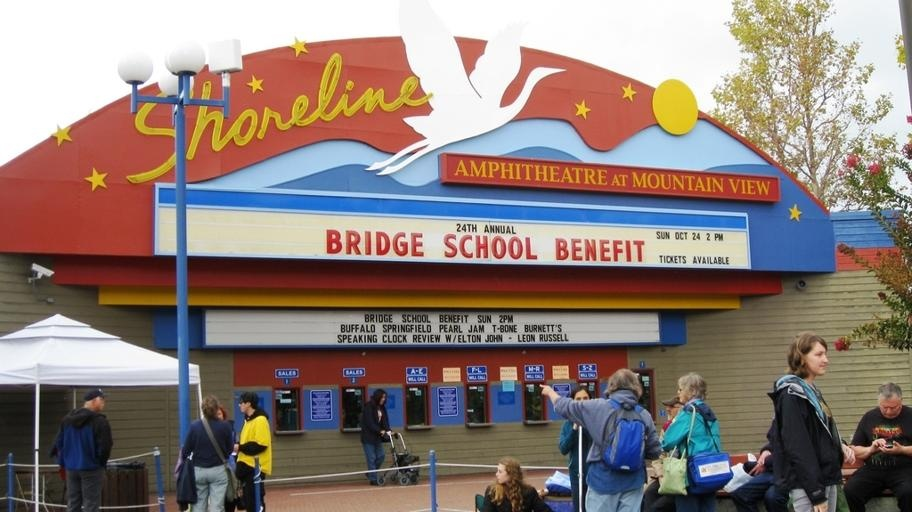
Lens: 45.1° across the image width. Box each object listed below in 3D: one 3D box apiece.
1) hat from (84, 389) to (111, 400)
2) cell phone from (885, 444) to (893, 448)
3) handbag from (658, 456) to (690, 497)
[{"bbox_3d":[-9.284,3.547,28.223,0.480,0.217,0.320,-13,5,-22],"label":"hat"},{"bbox_3d":[9.920,4.327,25.115,0.243,0.123,0.106,5,-14,-30],"label":"cell phone"},{"bbox_3d":[4.911,4.902,24.532,0.860,1.039,0.462,-3,-28,23],"label":"handbag"}]
